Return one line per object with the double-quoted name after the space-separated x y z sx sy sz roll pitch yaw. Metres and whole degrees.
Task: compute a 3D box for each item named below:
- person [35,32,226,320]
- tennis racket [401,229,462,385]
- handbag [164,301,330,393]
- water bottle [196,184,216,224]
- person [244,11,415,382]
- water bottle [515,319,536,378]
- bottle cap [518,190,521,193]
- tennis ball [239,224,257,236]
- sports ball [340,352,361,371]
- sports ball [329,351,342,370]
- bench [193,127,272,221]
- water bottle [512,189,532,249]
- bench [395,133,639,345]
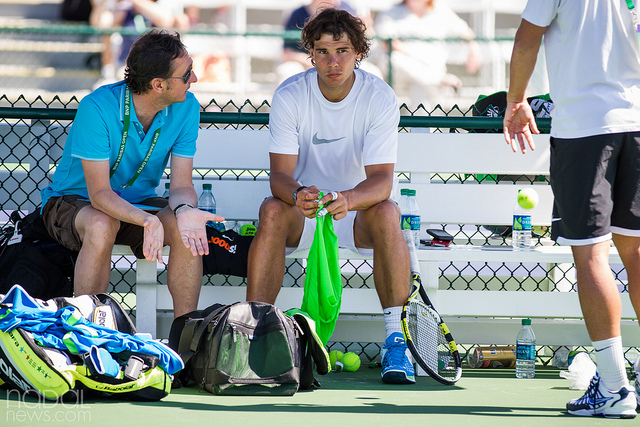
-1.174 -0.245 5.601 1.118 1.778 0.636 0 -1 -5 "person"
0.701 0.582 5.578 0.367 0.949 0.649 0 -1 8 "tennis racket"
-0.406 0.785 5.095 0.674 0.337 0.650 4 -8 -10 "handbag"
-0.806 -0.103 6.325 0.126 0.201 0.208 0 -1 -6 "water bottle"
0.074 -0.132 5.728 1.029 2.344 0.645 0 -1 5 "person"
1.352 0.910 5.860 0.115 0.315 0.261 0 -1 13 "water bottle"
1.413 -0.156 6.289 0.030 0.021 0.028 -1 7 4 "bottle cap"
-0.505 0.124 6.255 0.076 0.057 0.112 -1 1 -20 "tennis ball"
0.202 0.986 5.945 0.114 0.114 0.115 32 -13 8 "sports ball"
0.099 0.973 5.902 0.095 0.109 0.092 3 23 -1 "sports ball"
-0.626 -0.279 6.350 0.713 0.439 0.244 1 -3 -4 "bench"
1.412 0.082 6.192 0.132 0.321 0.407 0 -1 12 "water bottle"
1.270 0.160 5.773 1.598 1.191 0.657 0 -2 -1 "bench"
